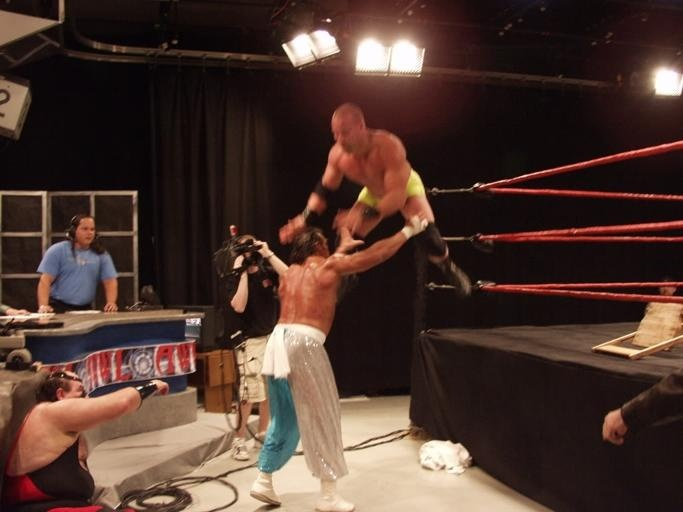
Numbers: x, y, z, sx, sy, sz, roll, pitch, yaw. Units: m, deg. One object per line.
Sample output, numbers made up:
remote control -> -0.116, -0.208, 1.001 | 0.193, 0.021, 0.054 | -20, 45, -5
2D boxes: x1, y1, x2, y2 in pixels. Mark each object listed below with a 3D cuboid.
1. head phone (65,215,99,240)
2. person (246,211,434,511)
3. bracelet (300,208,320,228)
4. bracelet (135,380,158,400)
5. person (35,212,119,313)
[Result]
head phone -> -2.452, -0.263, 5.599 | 0.201, 0.233, 0.249 | -3, 20, -4
person -> -0.124, 0.768, 4.101 | 0.809, 1.863, 0.475 | 5, 5, 5
bracelet -> -0.320, -0.404, 6.096 | 0.171, 0.213, 0.195 | 2, 13, 10
bracelet -> -1.193, 0.821, 3.600 | 0.076, 0.100, 0.159 | -15, -11, -16
person -> -2.519, 0.301, 5.603 | 0.659, 1.400, 0.418 | 1, 16, -37
